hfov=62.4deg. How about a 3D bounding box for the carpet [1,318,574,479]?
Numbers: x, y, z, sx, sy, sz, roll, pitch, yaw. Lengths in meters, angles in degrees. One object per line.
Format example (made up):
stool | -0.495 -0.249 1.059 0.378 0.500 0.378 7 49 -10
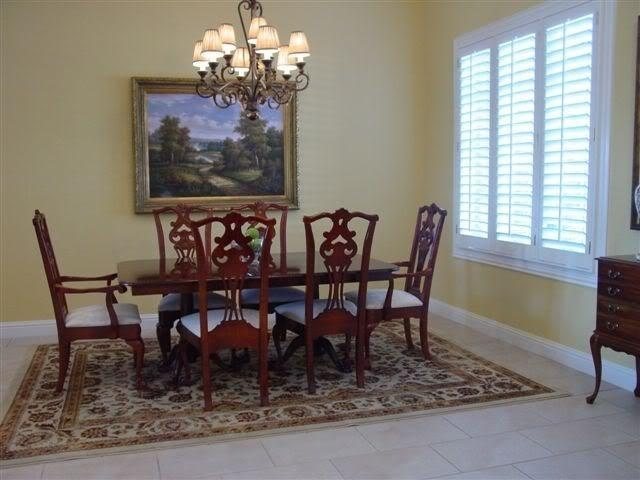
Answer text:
carpet | -0.423 1.104 4.042 3.671 0.061 2.107 -3 11 -16

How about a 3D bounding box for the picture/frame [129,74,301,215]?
picture/frame | -1.138 -0.962 5.289 1.683 1.229 0.067 -1 9 -17
